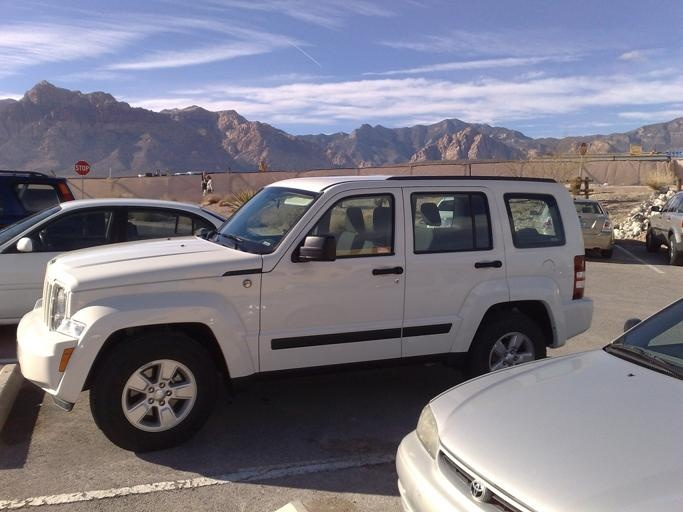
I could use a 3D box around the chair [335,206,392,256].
[{"bbox_3d":[0.232,-0.249,4.802,0.511,0.552,0.392,-2,0,-13],"label":"chair"}]
